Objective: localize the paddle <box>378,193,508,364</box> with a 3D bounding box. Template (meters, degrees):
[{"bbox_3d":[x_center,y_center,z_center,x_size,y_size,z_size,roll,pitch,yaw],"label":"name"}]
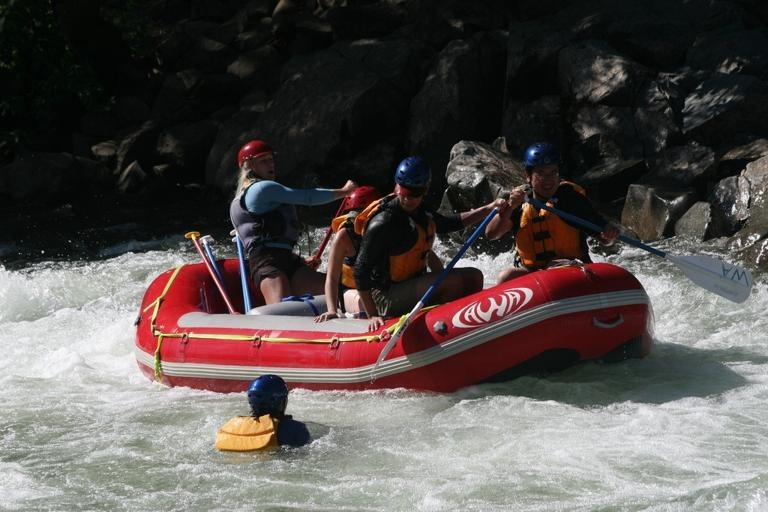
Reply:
[{"bbox_3d":[0.715,0.326,12.618,3.233,0.261,0.187,-42,-15,-14],"label":"paddle"}]

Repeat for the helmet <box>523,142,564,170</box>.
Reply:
[{"bbox_3d":[1.876,-1.223,12.609,0.304,0.339,0.397,-22,3,-43],"label":"helmet"}]

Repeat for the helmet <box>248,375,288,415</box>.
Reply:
[{"bbox_3d":[-1.237,1.536,11.445,0.433,0.409,0.450,5,17,2],"label":"helmet"}]

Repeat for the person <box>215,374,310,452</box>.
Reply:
[{"bbox_3d":[-1.298,1.713,11.607,0.743,0.588,1.024,3,5,19],"label":"person"}]

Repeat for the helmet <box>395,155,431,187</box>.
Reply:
[{"bbox_3d":[0.367,-1.028,12.269,0.329,0.365,0.390,6,41,4],"label":"helmet"}]

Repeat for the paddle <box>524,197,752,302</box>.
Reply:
[{"bbox_3d":[3.067,-0.132,12.538,2.842,0.172,0.391,20,24,-6],"label":"paddle"}]
